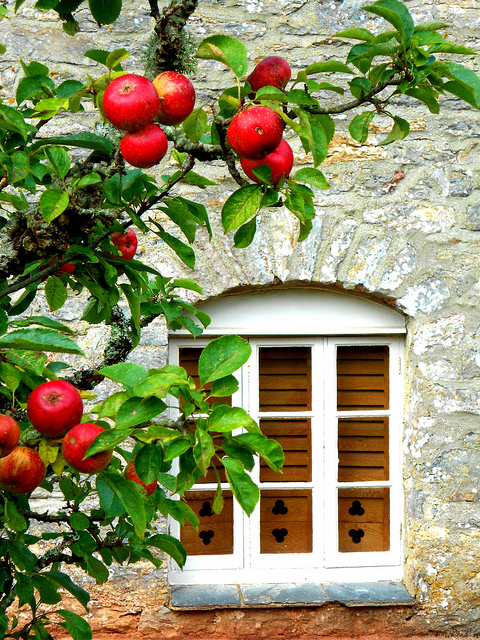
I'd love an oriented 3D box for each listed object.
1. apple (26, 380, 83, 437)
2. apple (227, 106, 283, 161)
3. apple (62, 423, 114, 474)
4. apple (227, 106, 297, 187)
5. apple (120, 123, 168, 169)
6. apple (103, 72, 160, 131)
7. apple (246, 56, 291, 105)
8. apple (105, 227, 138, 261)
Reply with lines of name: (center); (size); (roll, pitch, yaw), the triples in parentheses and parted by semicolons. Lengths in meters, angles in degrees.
apple: (-0.438, 0.214, 2.754); (0.117, 0.136, 0.093); (-2, -5, 9)
apple: (0.040, -0.435, 2.717); (0.096, 0.082, 0.104); (-35, 49, -17)
apple: (-0.355, 0.312, 2.786); (0.120, 0.123, 0.179); (-2, -4, 18)
apple: (0.049, -0.406, 2.751); (0.155, 0.182, 0.130); (-1, -4, -2)
apple: (-0.232, -0.414, 2.765); (0.112, 0.107, 0.062); (-1, -5, -2)
apple: (-0.240, -0.509, 2.773); (0.171, 0.137, 0.153); (-5, 10, -22)
apple: (0.070, -0.610, 2.884); (0.109, 0.088, 0.051); (-1, -5, -1)
apple: (-0.299, -0.206, 3.183); (0.088, 0.074, 0.082); (0, 28, 37)
